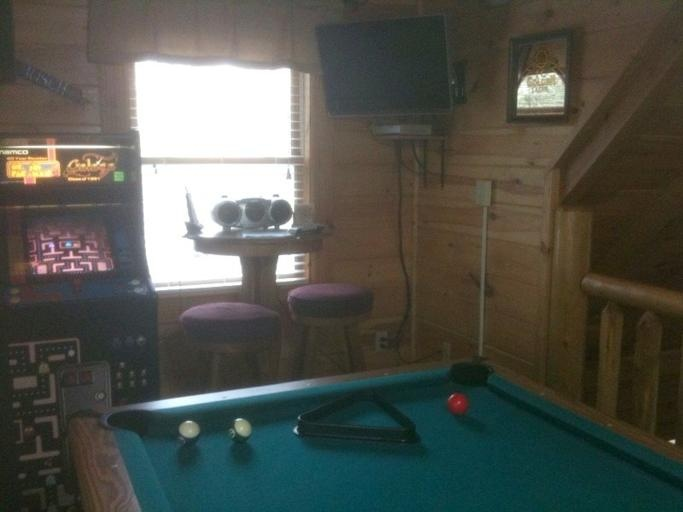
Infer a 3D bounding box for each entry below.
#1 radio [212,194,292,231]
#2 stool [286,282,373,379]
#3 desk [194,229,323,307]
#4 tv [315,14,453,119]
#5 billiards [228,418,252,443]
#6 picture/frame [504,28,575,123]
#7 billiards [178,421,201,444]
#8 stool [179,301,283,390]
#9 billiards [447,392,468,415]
[{"bbox_3d":[-0.510,-0.248,3.464,0.480,0.213,0.164,-1,-8,6],"label":"radio"},{"bbox_3d":[-0.072,0.444,3.546,0.537,0.579,0.542,-8,16,-33],"label":"stool"},{"bbox_3d":[-0.460,0.079,3.291,0.788,0.483,0.406,-8,12,-14],"label":"desk"},{"bbox_3d":[0.274,-1.237,3.695,0.852,0.619,0.080,-2,12,11],"label":"tv"},{"bbox_3d":[-0.282,0.492,1.590,0.061,0.054,0.043,10,-4,8],"label":"billiards"},{"bbox_3d":[1.121,-1.017,3.146,0.046,0.641,0.567,-7,11,-30],"label":"picture/frame"},{"bbox_3d":[-0.426,0.495,1.606,0.058,0.043,0.057,12,26,0],"label":"billiards"},{"bbox_3d":[-0.575,0.547,3.159,0.471,0.467,0.539,2,-3,-3],"label":"stool"},{"bbox_3d":[0.358,0.455,1.728,0.059,0.068,0.059,-2,5,25],"label":"billiards"}]
